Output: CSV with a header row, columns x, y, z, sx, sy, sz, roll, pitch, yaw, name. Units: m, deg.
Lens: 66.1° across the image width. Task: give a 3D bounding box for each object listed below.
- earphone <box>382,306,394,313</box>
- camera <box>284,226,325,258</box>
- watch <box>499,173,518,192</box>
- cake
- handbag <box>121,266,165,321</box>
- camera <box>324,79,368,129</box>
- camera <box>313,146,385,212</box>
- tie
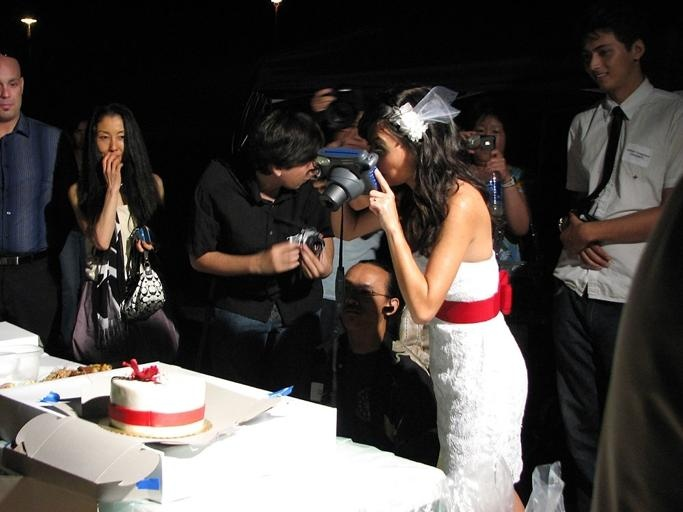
x,y,z,sx,sy,sz,roll,pitch,yaw,name
0.193,0.224,2.175,0.031,0.029,0.008,2,-12,10,earphone
-0.144,-0.073,2.307,0.123,0.064,0.141,12,31,-23,camera
0.645,-0.285,2.035,0.056,0.055,0.020,-13,25,1,watch
-0.354,0.264,1.012,0.191,0.106,0.189,4,-1,23,cake
-0.967,0.186,2.575,0.293,0.319,0.169,1,-2,-30,handbag
0.017,-0.629,2.161,0.173,0.165,0.062,17,13,15,camera
0.015,-0.235,1.581,0.203,0.192,0.074,-2,1,31,camera
0.979,-0.364,1.967,0.081,0.387,0.098,10,8,29,tie
